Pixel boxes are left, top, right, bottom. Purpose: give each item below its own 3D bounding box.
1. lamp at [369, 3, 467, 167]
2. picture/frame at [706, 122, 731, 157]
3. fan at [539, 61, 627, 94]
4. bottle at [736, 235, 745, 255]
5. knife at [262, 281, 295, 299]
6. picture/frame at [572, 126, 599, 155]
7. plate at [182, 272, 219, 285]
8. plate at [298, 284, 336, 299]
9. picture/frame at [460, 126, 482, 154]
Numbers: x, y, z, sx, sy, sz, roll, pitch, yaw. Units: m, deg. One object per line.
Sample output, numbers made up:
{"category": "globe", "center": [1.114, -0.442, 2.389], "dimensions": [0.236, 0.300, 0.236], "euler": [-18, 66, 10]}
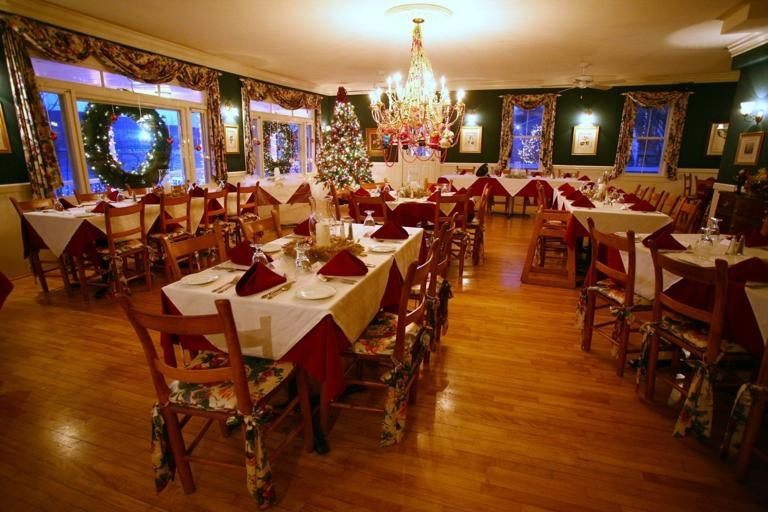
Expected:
{"category": "lamp", "center": [0.587, -2.849, 8.388], "dimensions": [1.739, 2.468, 1.650], "euler": [-15, 30, -24]}
{"category": "picture/frame", "center": [6.988, -2.450, 10.839], "dimensions": [0.312, 0.716, 0.210], "euler": [5, 16, 21]}
{"category": "fan", "center": [3.661, -3.265, 9.379], "dimensions": [1.235, 0.439, 1.228], "euler": [-1, 15, 12]}
{"category": "bottle", "center": [3.363, -0.105, 4.865], "dimensions": [0.053, 0.166, 0.106], "euler": [9, 18, 33]}
{"category": "knife", "center": [-0.863, 0.285, 4.199], "dimensions": [0.084, 0.020, 0.295], "euler": [26, 26, 19]}
{"category": "picture/frame", "center": [4.523, -2.625, 11.569], "dimensions": [0.606, 0.735, 0.050], "euler": [5, 17, 24]}
{"category": "plate", "center": [-1.562, 0.192, 4.363], "dimensions": [0.280, 0.057, 0.208], "euler": [3, 15, 16]}
{"category": "plate", "center": [-0.551, 0.295, 4.194], "dimensions": [0.295, 0.063, 0.225], "euler": [-3, 14, -10]}
{"category": "picture/frame", "center": [2.066, -2.801, 12.255], "dimensions": [0.637, 0.720, 0.053], "euler": [7, 27, 19]}
